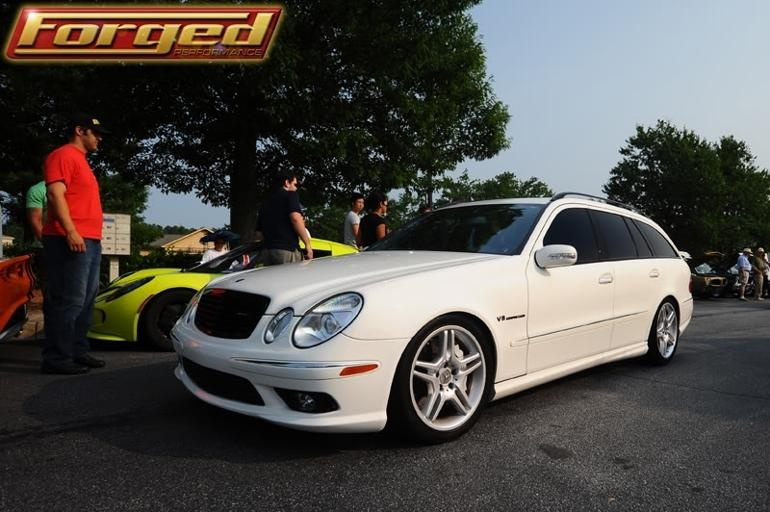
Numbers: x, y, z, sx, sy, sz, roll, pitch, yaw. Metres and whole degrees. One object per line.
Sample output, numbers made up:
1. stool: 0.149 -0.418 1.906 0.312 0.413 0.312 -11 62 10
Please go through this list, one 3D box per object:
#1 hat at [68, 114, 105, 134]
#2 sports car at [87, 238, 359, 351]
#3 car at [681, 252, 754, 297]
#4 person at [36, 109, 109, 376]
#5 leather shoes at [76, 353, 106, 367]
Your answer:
1. hat: -3.499 -1.539 5.588 0.297 0.158 0.209 -5 13 -39
2. sports car: -2.495 0.572 7.225 3.275 1.074 1.722 2 -3 -25
3. car: 15.134 0.869 21.337 2.241 1.324 4.015 -5 -6 41
4. person: -3.575 -0.155 5.418 0.628 2.966 0.543 -2 4 -38
5. leather shoes: -3.502 1.249 5.712 0.350 0.150 0.131 4 5 0
